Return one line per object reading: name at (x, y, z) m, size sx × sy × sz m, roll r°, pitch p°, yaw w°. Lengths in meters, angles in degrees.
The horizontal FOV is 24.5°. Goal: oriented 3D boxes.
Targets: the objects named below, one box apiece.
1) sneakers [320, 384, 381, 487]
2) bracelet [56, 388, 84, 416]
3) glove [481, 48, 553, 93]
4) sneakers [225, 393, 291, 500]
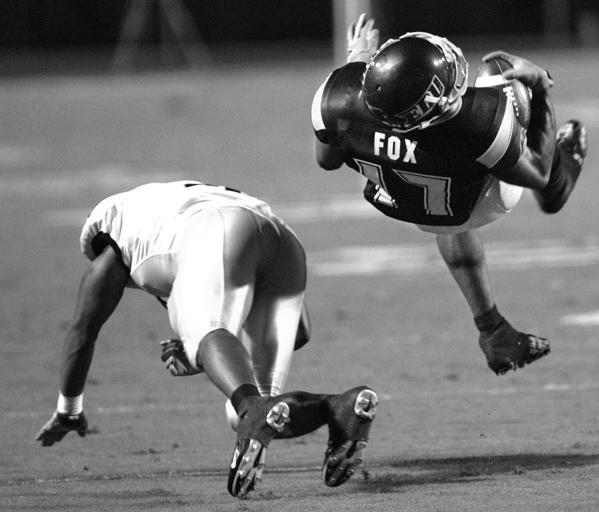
sneakers at (0.217, 0.855, 6.640) m, size 0.196 × 0.544 × 0.264 m, roll 14°, pitch 12°, yaw -4°
bracelet at (-1.232, 0.811, 7.400) m, size 0.116 × 0.109 × 0.138 m, roll 4°, pitch 5°, yaw -6°
glove at (1.144, -0.969, 7.304) m, size 0.308 × 0.111 × 0.224 m, roll 29°, pitch 10°, yaw 16°
sneakers at (-0.208, 0.874, 6.469) m, size 0.198 × 0.562 × 0.253 m, roll 25°, pitch -4°, yaw 1°
